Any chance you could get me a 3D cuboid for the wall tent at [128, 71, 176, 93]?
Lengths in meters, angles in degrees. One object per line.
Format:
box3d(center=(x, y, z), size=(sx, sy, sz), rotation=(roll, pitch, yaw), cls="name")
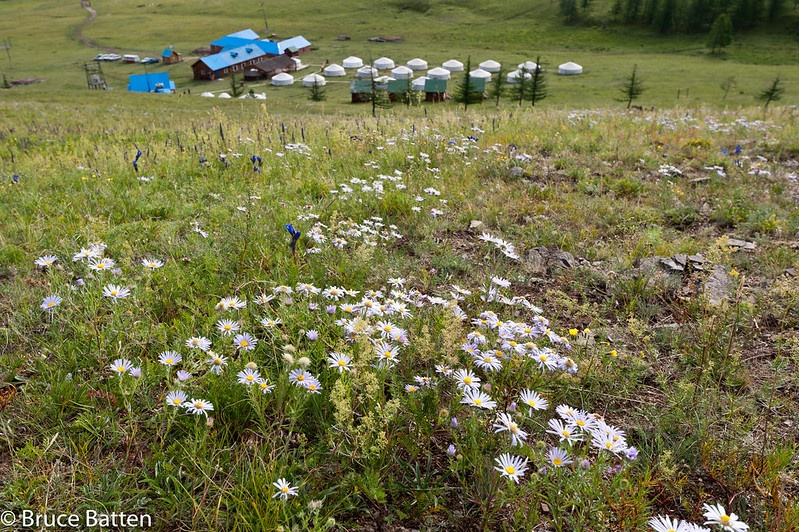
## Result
box3d(center=(-36.515, -27.006, 81.513), size=(6.076, 1.782, 10.436), rotation=(-11, 34, -24), cls="wall tent")
